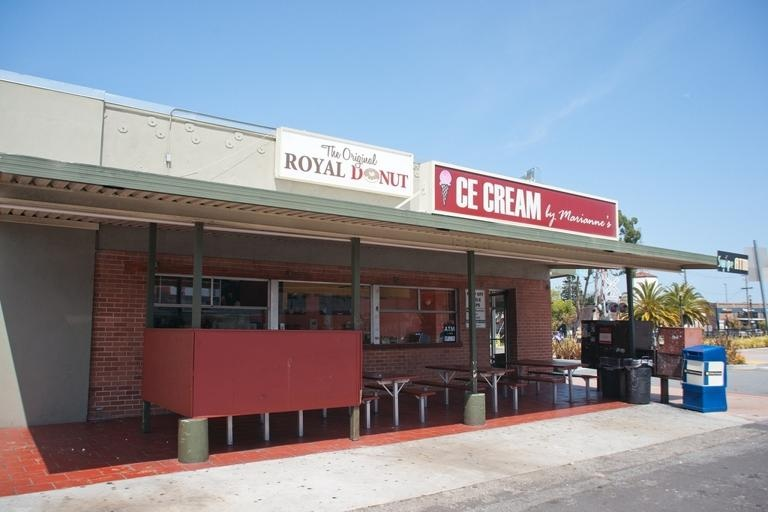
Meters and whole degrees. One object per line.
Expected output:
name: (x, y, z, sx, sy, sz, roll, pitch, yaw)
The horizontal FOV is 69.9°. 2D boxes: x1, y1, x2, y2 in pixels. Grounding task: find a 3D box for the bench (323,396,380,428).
bench: (-0.731, 3.326, 11.656, 0.606, 0.532, 1.143, -1, -6, 19)
